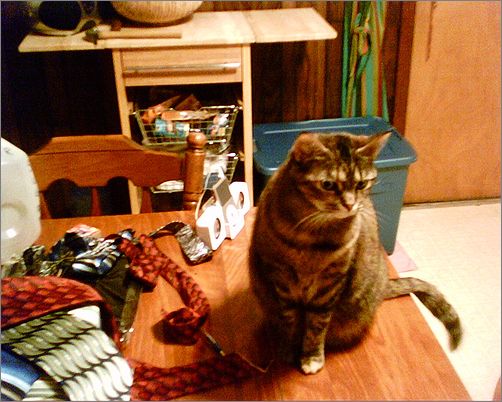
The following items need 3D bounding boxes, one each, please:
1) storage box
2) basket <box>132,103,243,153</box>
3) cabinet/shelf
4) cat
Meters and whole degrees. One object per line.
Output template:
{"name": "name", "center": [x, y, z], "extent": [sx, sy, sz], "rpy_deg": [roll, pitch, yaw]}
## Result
{"name": "storage box", "center": [0.365, -0.178, 2.052], "extent": [0.571, 0.516, 0.708], "rpy_deg": [-6, 32, -7]}
{"name": "basket", "center": [-0.251, -0.301, 1.678], "extent": [0.319, 0.138, 0.225], "rpy_deg": [-4, 28, -3]}
{"name": "cabinet/shelf", "center": [-0.223, -0.378, 1.810], "extent": [0.527, 0.877, 0.569], "rpy_deg": [-3, 35, -3]}
{"name": "cat", "center": [0.189, 0.063, 0.787], "extent": [0.358, 0.434, 0.256], "rpy_deg": [-7, 22, -6]}
